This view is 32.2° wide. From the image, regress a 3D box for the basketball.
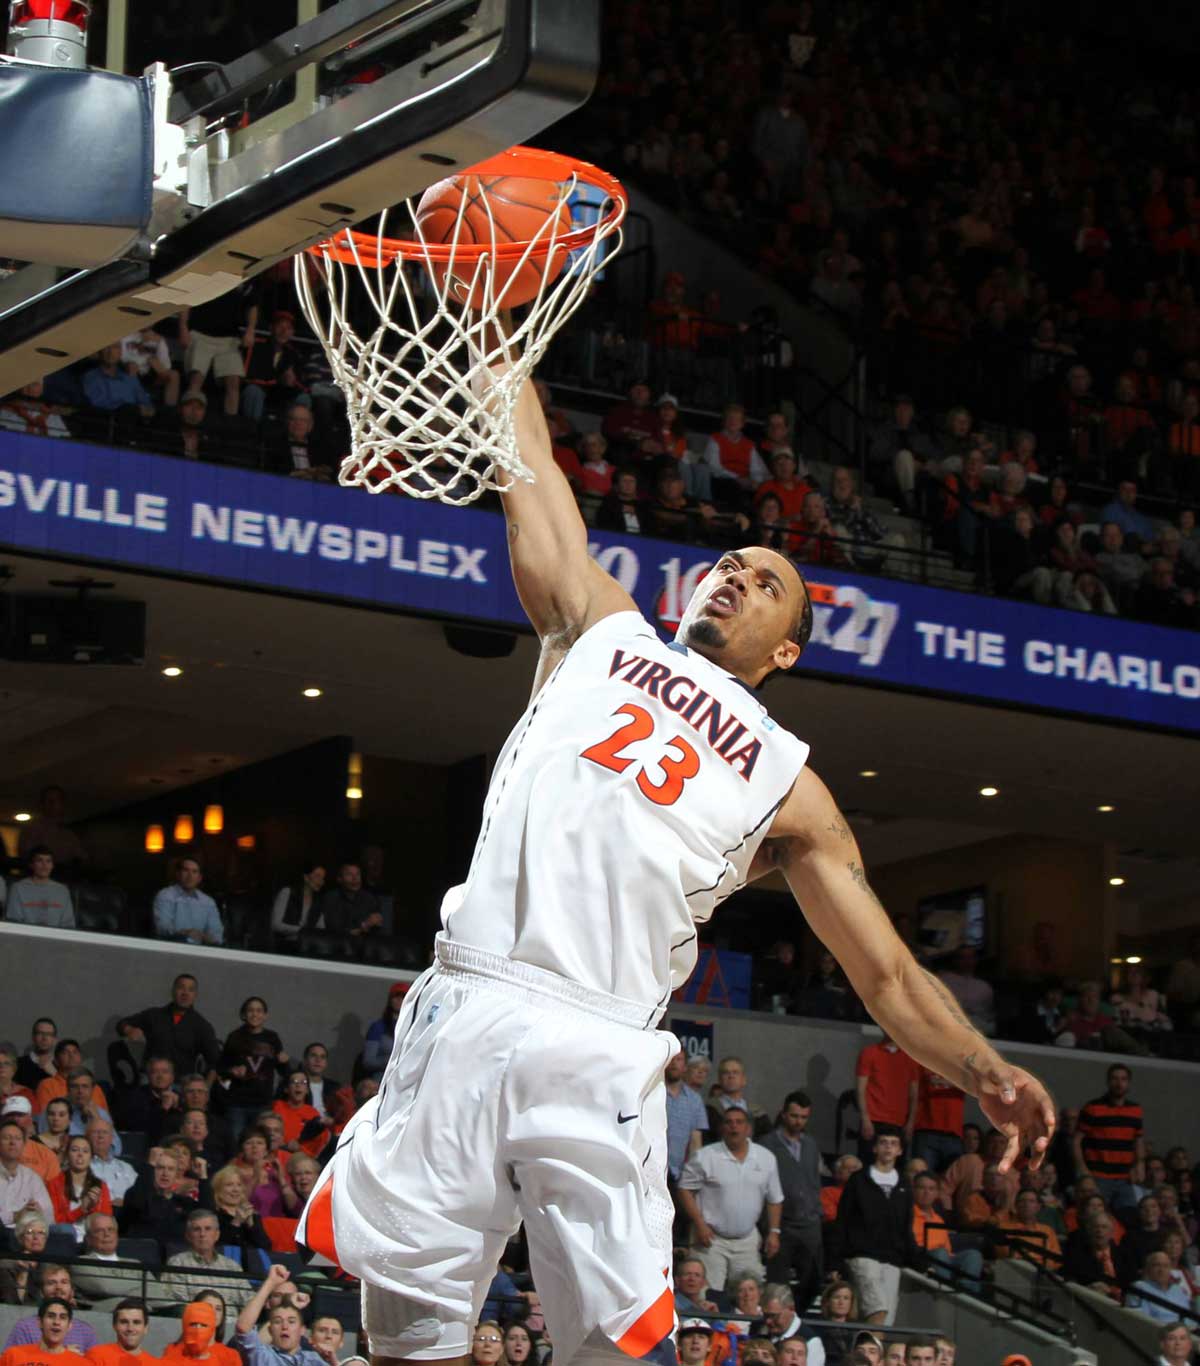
[{"bbox_3d":[-0.225,-0.870,4.070,0.270,0.293,0.495,4,-1,8],"label":"basketball"}]
